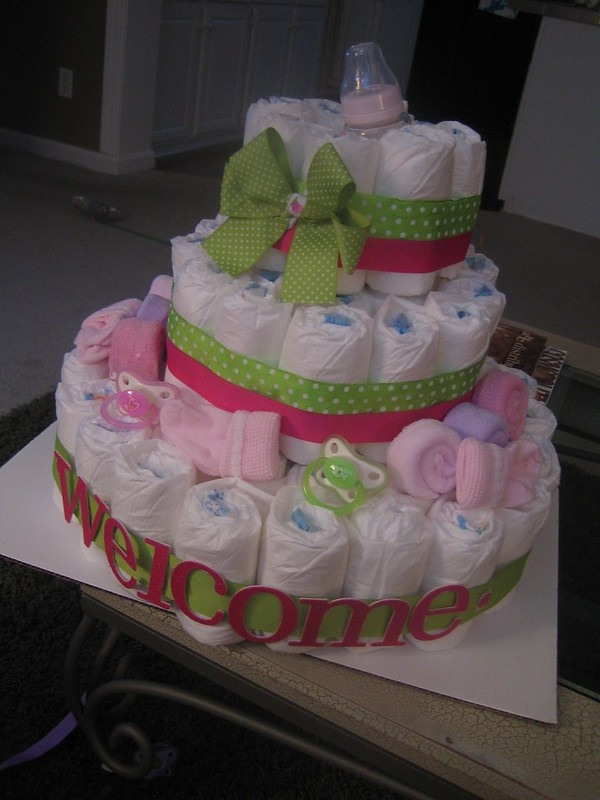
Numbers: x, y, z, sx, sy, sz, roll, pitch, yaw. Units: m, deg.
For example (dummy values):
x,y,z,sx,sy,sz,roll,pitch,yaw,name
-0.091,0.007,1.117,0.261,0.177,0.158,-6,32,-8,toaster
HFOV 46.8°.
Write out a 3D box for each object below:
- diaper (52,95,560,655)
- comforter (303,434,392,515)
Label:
x,y,z,sx,sy,sz,roll,pitch,yaw,name
0.113,0.008,0.947,0.711,0.566,0.656,7,38,-8,diaper
0.050,0.096,0.774,0.079,0.075,0.071,17,35,25,comforter
